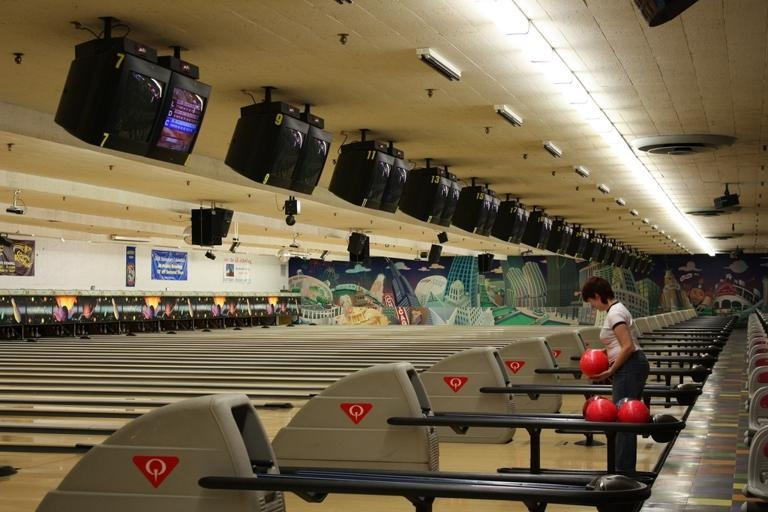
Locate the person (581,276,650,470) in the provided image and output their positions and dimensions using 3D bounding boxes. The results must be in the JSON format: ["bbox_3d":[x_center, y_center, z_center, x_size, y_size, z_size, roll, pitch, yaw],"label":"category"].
[{"bbox_3d":[1.695,0.857,3.988,0.495,1.411,0.706,2,-1,19],"label":"person"}]
